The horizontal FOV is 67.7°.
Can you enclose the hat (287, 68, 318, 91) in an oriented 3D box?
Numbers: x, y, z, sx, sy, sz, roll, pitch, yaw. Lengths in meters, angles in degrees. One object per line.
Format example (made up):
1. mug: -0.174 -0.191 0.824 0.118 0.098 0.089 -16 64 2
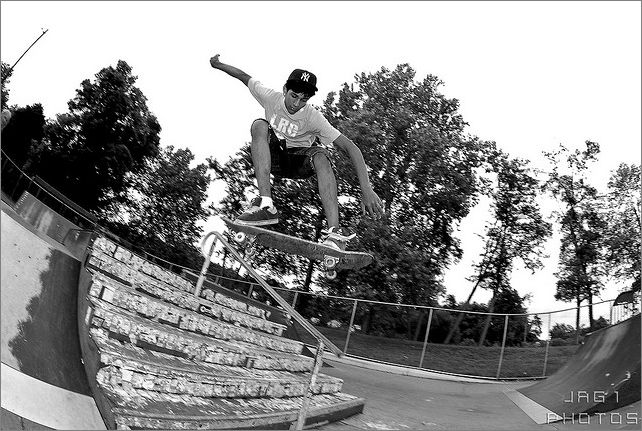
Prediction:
1. hat: -0.239 -1.905 6.608 0.435 0.266 0.249 11 -19 -9
